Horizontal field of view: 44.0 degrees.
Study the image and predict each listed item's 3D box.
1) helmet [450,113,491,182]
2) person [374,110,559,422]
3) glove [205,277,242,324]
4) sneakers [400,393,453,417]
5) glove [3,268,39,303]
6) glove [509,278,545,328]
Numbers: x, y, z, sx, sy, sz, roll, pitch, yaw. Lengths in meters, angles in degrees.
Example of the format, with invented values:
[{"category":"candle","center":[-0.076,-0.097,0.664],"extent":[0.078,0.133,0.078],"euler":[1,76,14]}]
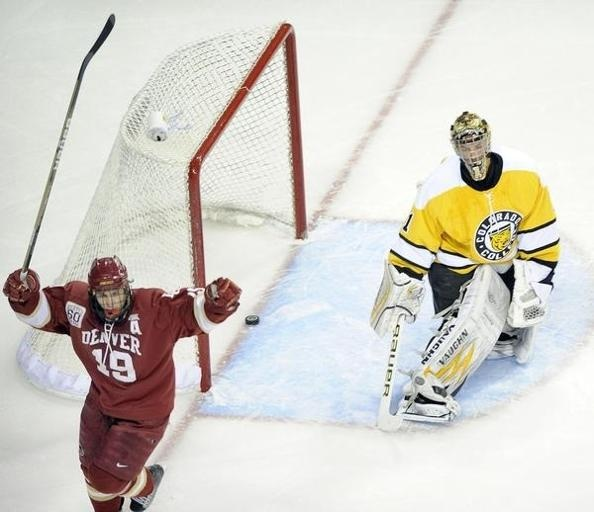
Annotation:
[{"category":"helmet","center":[0.690,-0.428,2.903],"extent":[0.165,0.253,0.131],"euler":[-4,15,9]},{"category":"person","center":[0.658,0.038,3.008],"extent":[0.736,1.204,0.462],"euler":[-14,31,-36]},{"category":"glove","center":[-0.253,0.157,2.479],"extent":[0.118,0.172,0.094],"euler":[2,25,-7]},{"category":"sneakers","center":[0.537,0.627,3.012],"extent":[0.157,0.052,0.114],"euler":[2,19,15]},{"category":"glove","center":[-0.967,0.107,2.625],"extent":[0.102,0.055,0.125],"euler":[38,76,9]},{"category":"glove","center":[0.977,0.197,3.106],"extent":[0.144,0.172,0.098],"euler":[-22,42,-4]}]
